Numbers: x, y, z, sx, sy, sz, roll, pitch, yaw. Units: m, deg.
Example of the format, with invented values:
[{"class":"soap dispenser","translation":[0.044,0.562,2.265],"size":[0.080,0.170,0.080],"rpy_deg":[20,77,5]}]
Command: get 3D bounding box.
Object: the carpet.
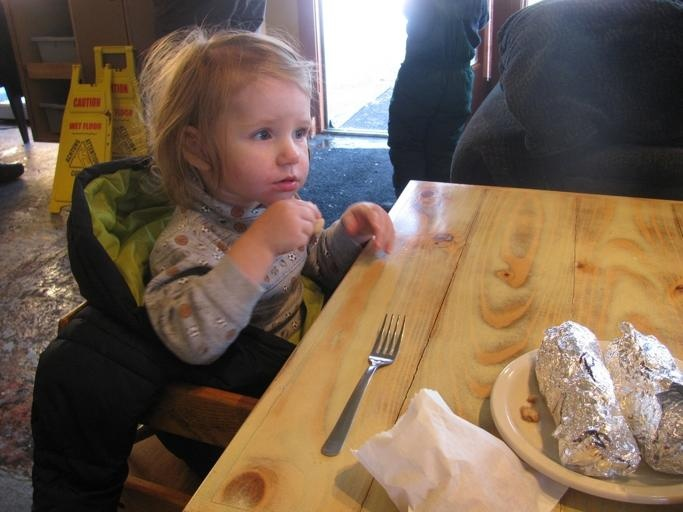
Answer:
[{"class":"carpet","translation":[0.041,-0.386,3.211],"size":[0.528,0.146,0.619],"rpy_deg":[0,38,1]}]
